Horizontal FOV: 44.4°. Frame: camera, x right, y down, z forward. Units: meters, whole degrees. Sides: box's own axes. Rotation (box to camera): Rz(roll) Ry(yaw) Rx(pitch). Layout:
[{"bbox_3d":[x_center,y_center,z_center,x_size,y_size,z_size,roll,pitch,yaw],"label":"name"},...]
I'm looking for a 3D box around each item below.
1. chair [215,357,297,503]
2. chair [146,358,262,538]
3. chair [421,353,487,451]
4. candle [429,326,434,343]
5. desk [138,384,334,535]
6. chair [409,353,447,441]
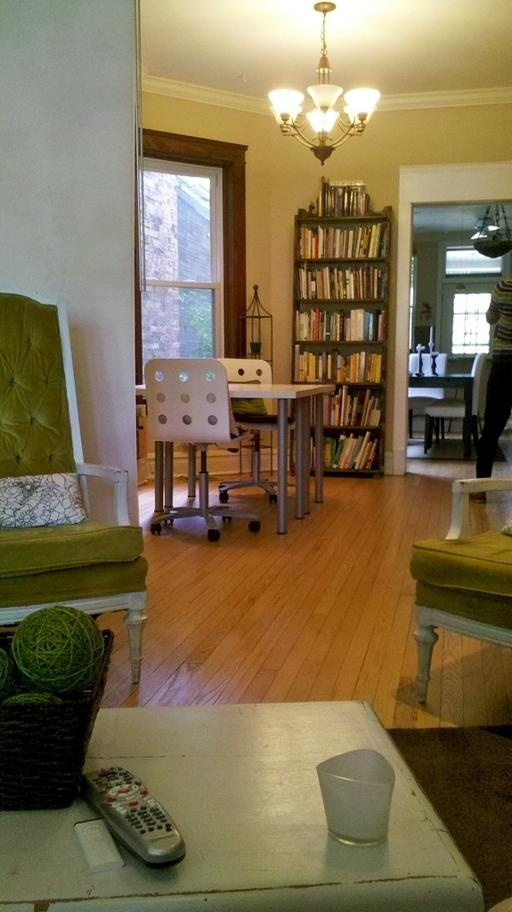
[{"bbox_3d":[-0.028,-0.225,4.520,0.595,1.097,0.573,0,18,-3],"label":"chair"},{"bbox_3d":[-0.309,-0.074,3.691,0.599,1.035,0.616,-4,11,-14],"label":"chair"},{"bbox_3d":[2.373,-0.686,7.470,0.614,1.115,0.601,8,15,36],"label":"chair"},{"bbox_3d":[2.697,-1.882,9.819,0.068,0.279,0.063,0,7,9],"label":"candle"},{"bbox_3d":[-0.052,-0.096,3.869,0.966,0.964,1.071,-1,7,2],"label":"desk"},{"bbox_3d":[2.411,-0.752,8.794,0.581,1.081,0.496,-4,1,-13],"label":"chair"}]
